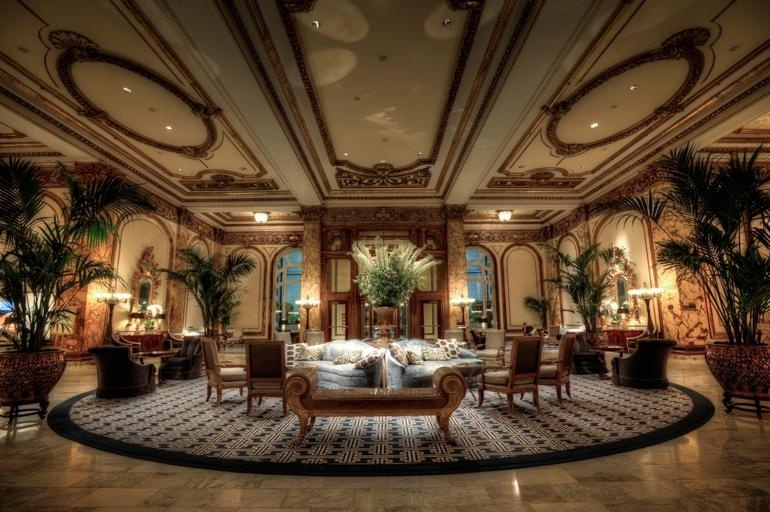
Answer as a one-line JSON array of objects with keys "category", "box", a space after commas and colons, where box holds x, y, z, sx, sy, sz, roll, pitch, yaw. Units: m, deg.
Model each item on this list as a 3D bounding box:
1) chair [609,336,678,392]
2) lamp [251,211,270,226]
[{"category": "chair", "box": [5.561, 2.151, 7.818, 1.141, 0.937, 1.233, 2, -6, -4]}, {"category": "lamp", "box": [-4.967, -1.483, 15.009, 0.445, 0.261, 0.387, -8, -23, 7]}]
